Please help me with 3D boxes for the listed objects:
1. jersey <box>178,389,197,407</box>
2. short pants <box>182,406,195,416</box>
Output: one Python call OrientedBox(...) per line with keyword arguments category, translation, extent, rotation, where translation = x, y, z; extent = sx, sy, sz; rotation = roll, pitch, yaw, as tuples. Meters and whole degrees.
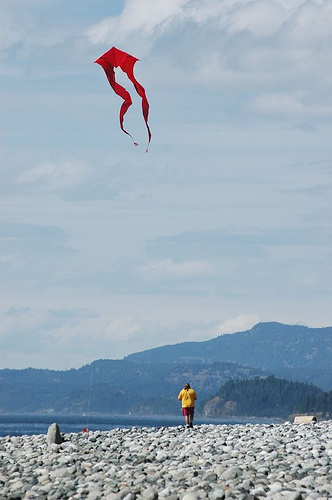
OrientedBox(category="jersey", translation=(0.639, 5.359, 39.696), extent=(0.621, 0.729, 1.331), rotation=(1, -2, 1))
OrientedBox(category="short pants", translation=(0.721, 5.940, 39.879), extent=(0.520, 0.538, 0.301), rotation=(2, -6, -8))
